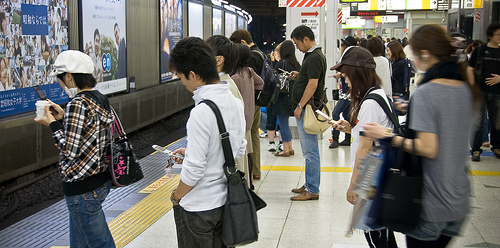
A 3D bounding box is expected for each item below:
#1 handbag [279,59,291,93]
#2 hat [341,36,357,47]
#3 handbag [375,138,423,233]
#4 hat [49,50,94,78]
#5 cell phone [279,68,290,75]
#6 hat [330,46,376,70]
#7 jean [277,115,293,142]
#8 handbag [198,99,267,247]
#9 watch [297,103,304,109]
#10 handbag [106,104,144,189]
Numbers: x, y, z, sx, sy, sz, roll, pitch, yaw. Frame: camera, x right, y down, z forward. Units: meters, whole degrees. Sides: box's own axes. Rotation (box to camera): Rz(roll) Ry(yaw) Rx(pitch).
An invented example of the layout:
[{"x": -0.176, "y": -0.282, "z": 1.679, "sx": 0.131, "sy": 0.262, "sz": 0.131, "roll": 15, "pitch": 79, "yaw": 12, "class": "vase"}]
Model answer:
[{"x": 0.881, "y": -1.210, "z": 7.757, "sx": 0.293, "sy": 0.820, "sz": 0.533, "roll": 2, "pitch": 14, "yaw": 5, "class": "handbag"}, {"x": 2.942, "y": -2.472, "z": 9.148, "sx": 0.403, "sy": 0.276, "sz": 0.720, "roll": 4, "pitch": 15, "yaw": 15, "class": "hat"}, {"x": 1.427, "y": 0.587, "z": 2.896, "sx": 0.379, "sy": 0.884, "sz": 0.204, "roll": 8, "pitch": 16, "yaw": 27, "class": "handbag"}, {"x": -2.182, "y": -0.751, "z": 3.730, "sx": 0.579, "sy": 0.272, "sz": 0.388, "roll": 1, "pitch": 28, "yaw": -3, "class": "hat"}, {"x": 0.868, "y": -1.342, "z": 7.824, "sx": 0.339, "sy": 0.043, "sz": 0.043, "roll": 29, "pitch": -14, "yaw": 17, "class": "cell phone"}, {"x": 1.336, "y": -0.852, "z": 3.969, "sx": 0.602, "sy": 0.275, "sz": 0.422, "roll": 9, "pitch": 7, "yaw": 36, "class": "hat"}, {"x": 0.897, "y": 0.120, "z": 8.012, "sx": 0.307, "sy": 0.843, "sz": 0.583, "roll": 3, "pitch": 15, "yaw": 11, "class": "jean"}, {"x": -0.166, "y": 0.477, "z": 3.008, "sx": 0.337, "sy": 1.375, "sz": 0.449, "roll": -7, "pitch": 16, "yaw": -27, "class": "handbag"}, {"x": 0.967, "y": -0.353, "z": 5.970, "sx": 0.116, "sy": 0.095, "sz": 0.052, "roll": 7, "pitch": 16, "yaw": 23, "class": "watch"}, {"x": -1.573, "y": 0.344, "z": 3.795, "sx": 0.393, "sy": 1.064, "sz": 0.423, "roll": -4, "pitch": 15, "yaw": -19, "class": "handbag"}]
